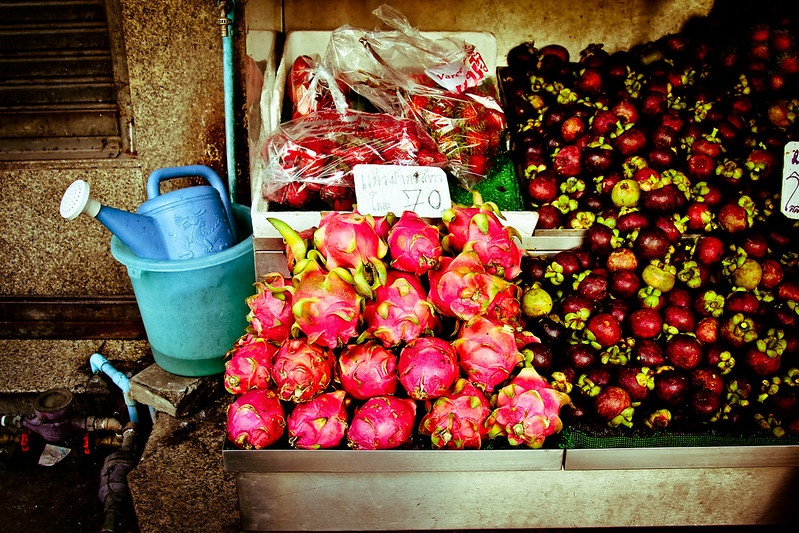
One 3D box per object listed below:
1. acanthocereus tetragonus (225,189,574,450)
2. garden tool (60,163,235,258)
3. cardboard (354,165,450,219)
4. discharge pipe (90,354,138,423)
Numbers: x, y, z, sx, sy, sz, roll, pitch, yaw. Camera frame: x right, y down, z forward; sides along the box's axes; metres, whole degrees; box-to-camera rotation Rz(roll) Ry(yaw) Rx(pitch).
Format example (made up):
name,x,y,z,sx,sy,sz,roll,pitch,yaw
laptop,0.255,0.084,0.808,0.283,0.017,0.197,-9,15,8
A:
name,x,y,z,sx,sy,sz,roll,pitch,yaw
acanthocereus tetragonus,-0.014,0.237,2.362,1.207,0.804,0.506,-1,30,-2
garden tool,-1.064,-0.235,3.068,0.705,0.444,0.413,-23,30,-31
cardboard,-0.002,-0.282,2.581,0.400,0.219,0.086,-3,-2,-8
discharge pipe,-1.490,0.645,3.453,0.064,0.308,0.318,-36,61,-28
